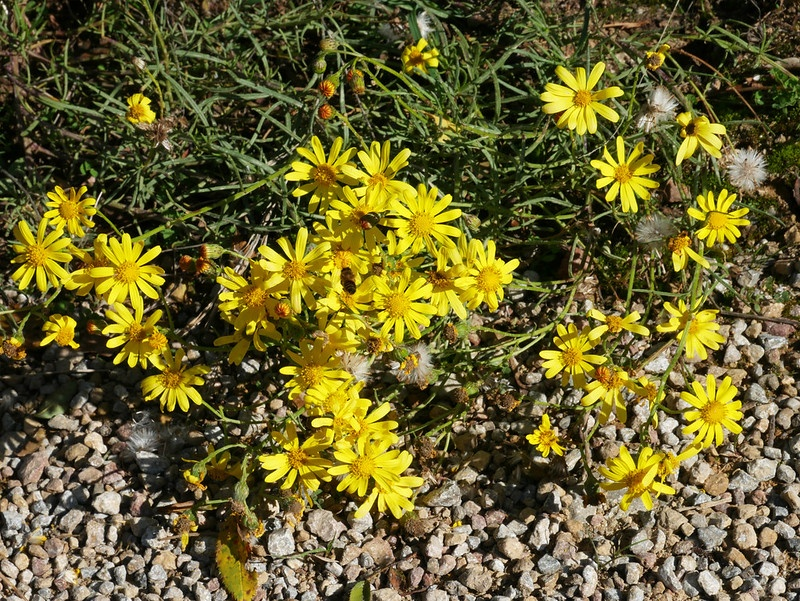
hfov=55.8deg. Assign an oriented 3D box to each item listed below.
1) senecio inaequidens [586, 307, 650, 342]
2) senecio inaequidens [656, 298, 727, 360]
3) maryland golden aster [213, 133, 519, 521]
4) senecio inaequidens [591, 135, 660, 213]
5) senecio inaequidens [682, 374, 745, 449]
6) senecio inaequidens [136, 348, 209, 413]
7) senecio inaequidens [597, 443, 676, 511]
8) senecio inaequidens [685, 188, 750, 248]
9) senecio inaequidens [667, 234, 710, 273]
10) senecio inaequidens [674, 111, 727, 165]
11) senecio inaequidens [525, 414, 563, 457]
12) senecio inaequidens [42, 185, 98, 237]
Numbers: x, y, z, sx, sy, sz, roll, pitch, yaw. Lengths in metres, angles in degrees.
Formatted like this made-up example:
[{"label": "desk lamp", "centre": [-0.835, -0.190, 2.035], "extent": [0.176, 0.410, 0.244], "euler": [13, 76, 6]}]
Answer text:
[{"label": "senecio inaequidens", "centre": [0.853, 0.098, 2.964], "extent": [0.149, 0.053, 0.158], "euler": [4, 42, 31]}, {"label": "senecio inaequidens", "centre": [1.146, 0.083, 2.960], "extent": [0.219, 0.258, 0.102], "euler": [37, 118, 33]}, {"label": "maryland golden aster", "centre": [-0.173, 0.022, 2.841], "extent": [1.095, 0.378, 1.544], "euler": [9, 87, -13]}, {"label": "senecio inaequidens", "centre": [0.874, -0.475, 2.869], "extent": [0.269, 0.108, 0.294], "euler": [2, 102, -1]}, {"label": "senecio inaequidens", "centre": [1.184, 0.423, 2.902], "extent": [0.249, 0.138, 0.251], "euler": [4, 72, 0]}, {"label": "senecio inaequidens", "centre": [-0.862, 0.334, 2.995], "extent": [0.268, 0.205, 0.226], "euler": [26, 73, 7]}, {"label": "senecio inaequidens", "centre": [0.887, 0.670, 2.810], "extent": [0.243, 0.243, 0.104], "euler": [25, 111, 19]}, {"label": "senecio inaequidens", "centre": [1.253, -0.352, 2.992], "extent": [0.221, 0.226, 0.080], "euler": [42, 109, -5]}, {"label": "senecio inaequidens", "centre": [1.127, -0.174, 2.972], "extent": [0.150, 0.065, 0.139], "euler": [34, 90, 22]}, {"label": "senecio inaequidens", "centre": [1.131, -0.618, 2.903], "extent": [0.188, 0.087, 0.212], "euler": [-18, 83, 16]}, {"label": "senecio inaequidens", "centre": [0.599, 0.564, 3.092], "extent": [0.174, 0.064, 0.191], "euler": [7, 42, -1]}, {"label": "senecio inaequidens", "centre": [-1.275, -0.350, 2.985], "extent": [0.208, 0.056, 0.227], "euler": [-12, 85, -3]}]
